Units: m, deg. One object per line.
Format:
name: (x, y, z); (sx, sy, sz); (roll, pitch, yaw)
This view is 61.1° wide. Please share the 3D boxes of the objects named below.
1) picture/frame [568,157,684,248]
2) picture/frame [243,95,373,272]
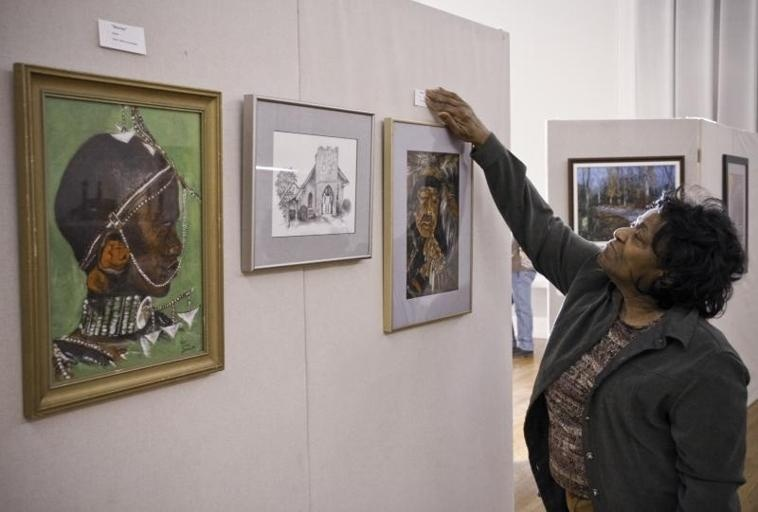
picture/frame: (1.747, -0.417, 4.537); (0.701, 0.651, 0.032); (0, 3, 7)
picture/frame: (-0.338, -0.332, 2.866); (0.773, 0.818, 0.078); (-3, 5, -41)
